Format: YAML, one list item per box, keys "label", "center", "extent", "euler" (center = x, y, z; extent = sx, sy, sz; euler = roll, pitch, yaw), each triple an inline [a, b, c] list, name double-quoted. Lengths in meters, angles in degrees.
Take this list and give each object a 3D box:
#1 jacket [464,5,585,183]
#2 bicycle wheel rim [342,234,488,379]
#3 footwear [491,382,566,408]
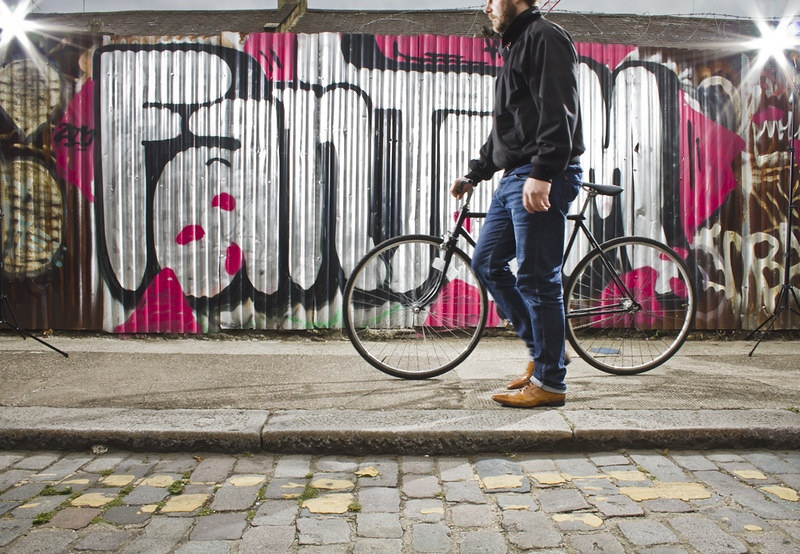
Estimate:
- label: "jacket"
  center: [1.073, -1.443, 6.166]
  extent: [0.684, 1.354, 0.400]
  euler: [-1, 4, 13]
- label: "bicycle wheel rim"
  center: [0.173, 0.302, 7.223]
  extent: [1.080, 1.181, 0.170]
  euler: [6, 4, -7]
- label: "footwear"
  center: [1.051, 0.963, 6.353]
  extent: [0.587, 0.273, 0.220]
  euler: [3, -11, 1]
